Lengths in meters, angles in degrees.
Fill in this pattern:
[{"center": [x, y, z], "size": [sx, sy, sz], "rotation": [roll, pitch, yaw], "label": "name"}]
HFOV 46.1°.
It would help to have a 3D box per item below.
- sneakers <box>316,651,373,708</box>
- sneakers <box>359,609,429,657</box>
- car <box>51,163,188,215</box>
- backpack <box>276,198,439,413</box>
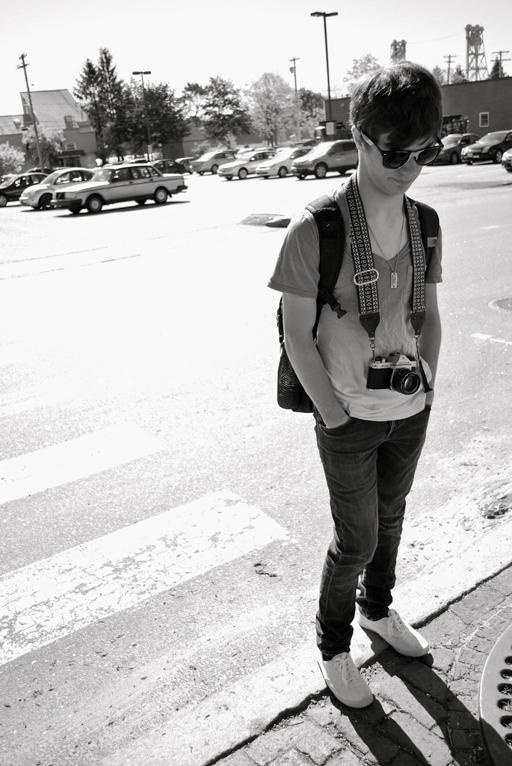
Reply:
[{"center": [0.282, 0.926, 1.902], "size": [0.071, 0.079, 0.193], "rotation": [-15, 9, -9], "label": "sneakers"}, {"center": [0.485, 0.852, 2.124], "size": [0.092, 0.099, 0.242], "rotation": [-34, 34, -31], "label": "sneakers"}, {"center": [-6.000, -8.588, 26.595], "size": [5.056, 2.267, 1.697], "rotation": [-15, 12, -37], "label": "car"}, {"center": [0.271, -0.207, 1.628], "size": [0.417, 0.684, 0.390], "rotation": [12, 27, 32], "label": "backpack"}]
